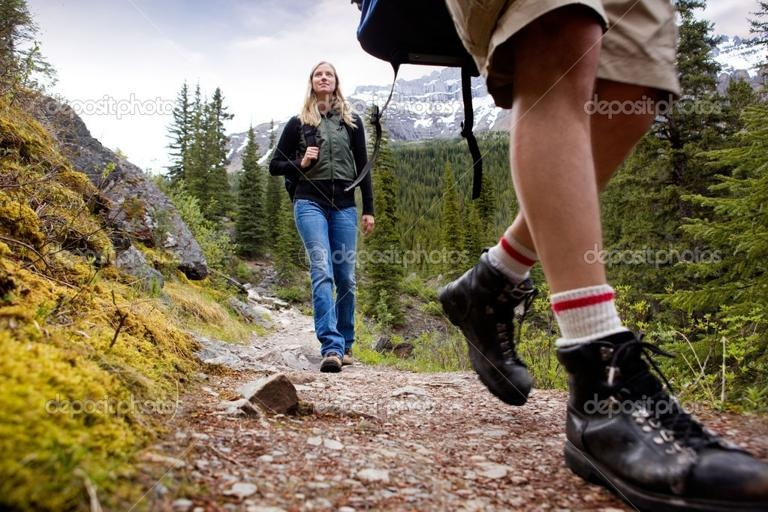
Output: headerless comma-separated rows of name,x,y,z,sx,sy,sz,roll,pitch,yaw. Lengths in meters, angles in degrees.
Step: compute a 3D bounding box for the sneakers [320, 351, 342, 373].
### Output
sneakers,-0.448,0.926,4.411,0.170,0.148,0.190,7,5,-5
